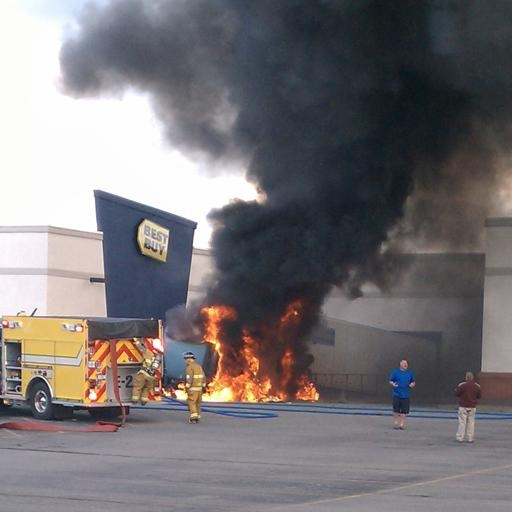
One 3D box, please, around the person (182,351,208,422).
[{"bbox_3d":[-1.418,2.943,20.352,0.502,1.515,1.303,6,1,-4],"label":"person"}]
